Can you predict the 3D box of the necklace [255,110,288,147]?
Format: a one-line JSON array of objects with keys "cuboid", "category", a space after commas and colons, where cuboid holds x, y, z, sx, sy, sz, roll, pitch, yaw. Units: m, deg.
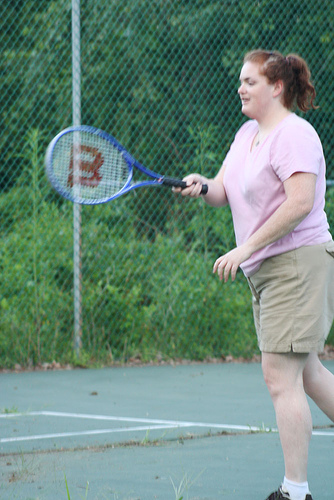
[{"cuboid": [0.417, -0.495, 3.490, 0.128, 0.154, 0.127, 1, 1, -14], "category": "necklace"}]
